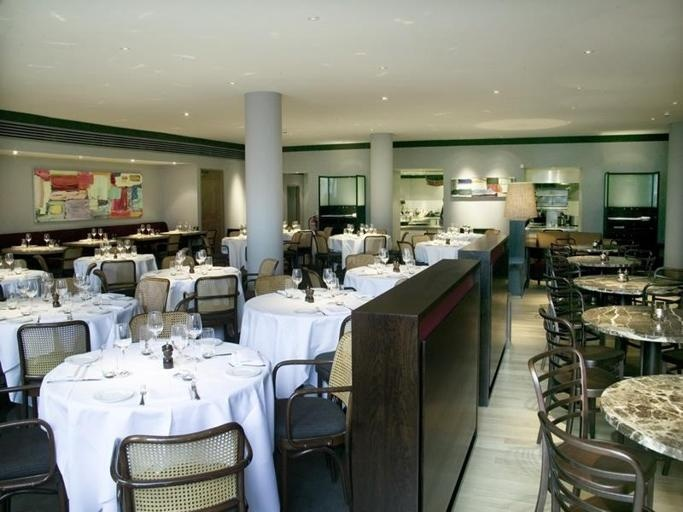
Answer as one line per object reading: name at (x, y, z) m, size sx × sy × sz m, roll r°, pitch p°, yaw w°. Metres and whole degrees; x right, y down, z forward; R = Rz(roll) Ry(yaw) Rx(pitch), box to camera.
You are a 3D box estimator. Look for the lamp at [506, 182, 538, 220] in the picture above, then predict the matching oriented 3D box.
lamp at (3.308, -1.010, 9.770) m, size 0.675 × 0.762 × 0.659 m, roll -10°, pitch 12°, yaw -33°
